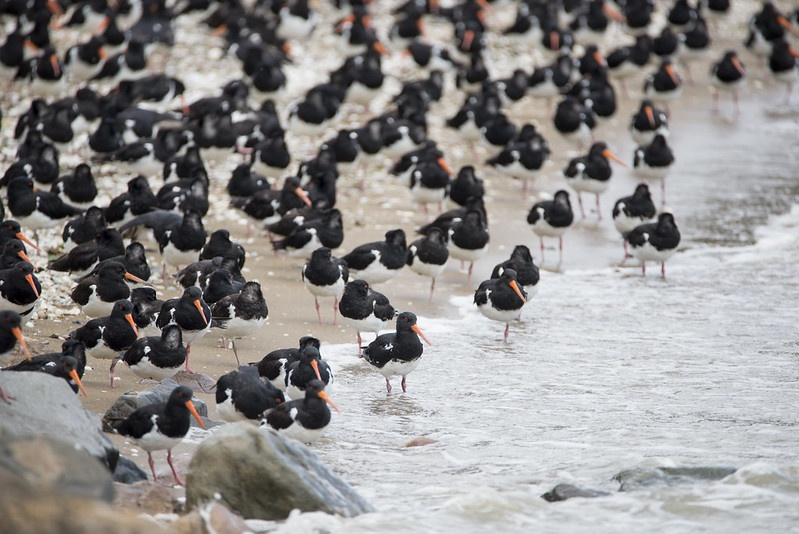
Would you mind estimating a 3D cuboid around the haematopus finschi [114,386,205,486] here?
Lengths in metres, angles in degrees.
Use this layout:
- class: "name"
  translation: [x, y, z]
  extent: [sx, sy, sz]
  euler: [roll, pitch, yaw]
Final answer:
- class: "haematopus finschi"
  translation: [-3.524, 2.520, 13.945]
  extent: [1.219, 1.258, 0.867]
  euler: [-18, 27, -9]

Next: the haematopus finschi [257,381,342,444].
- class: "haematopus finschi"
  translation: [-1.531, 2.348, 14.417]
  extent: [1.090, 1.103, 0.427]
  euler: [-10, 27, 5]

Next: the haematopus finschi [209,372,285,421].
- class: "haematopus finschi"
  translation: [-2.337, 2.059, 14.802]
  extent: [1.102, 0.662, 0.696]
  euler: [15, 25, 20]
